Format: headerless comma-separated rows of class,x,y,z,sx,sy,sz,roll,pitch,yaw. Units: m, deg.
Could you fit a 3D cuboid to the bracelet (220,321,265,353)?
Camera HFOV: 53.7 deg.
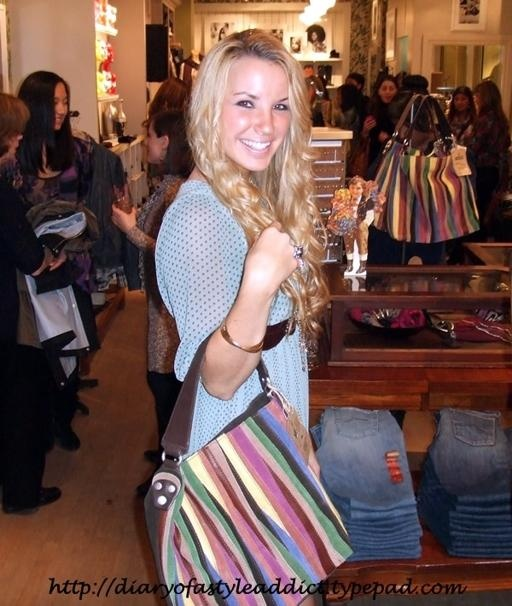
bracelet,-0.012,0.049,0.620,0.036,0.016,0.044,2,48,-42

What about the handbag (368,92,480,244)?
handbag,0.744,-0.591,2.268,0.485,0.658,0.201,-4,14,-6

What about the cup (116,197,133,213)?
cup,-0.637,-0.474,2.432,0.058,0.052,0.071,-3,10,10

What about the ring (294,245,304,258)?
ring,0.056,-0.071,0.686,0.016,0.018,0.016,2,11,0
